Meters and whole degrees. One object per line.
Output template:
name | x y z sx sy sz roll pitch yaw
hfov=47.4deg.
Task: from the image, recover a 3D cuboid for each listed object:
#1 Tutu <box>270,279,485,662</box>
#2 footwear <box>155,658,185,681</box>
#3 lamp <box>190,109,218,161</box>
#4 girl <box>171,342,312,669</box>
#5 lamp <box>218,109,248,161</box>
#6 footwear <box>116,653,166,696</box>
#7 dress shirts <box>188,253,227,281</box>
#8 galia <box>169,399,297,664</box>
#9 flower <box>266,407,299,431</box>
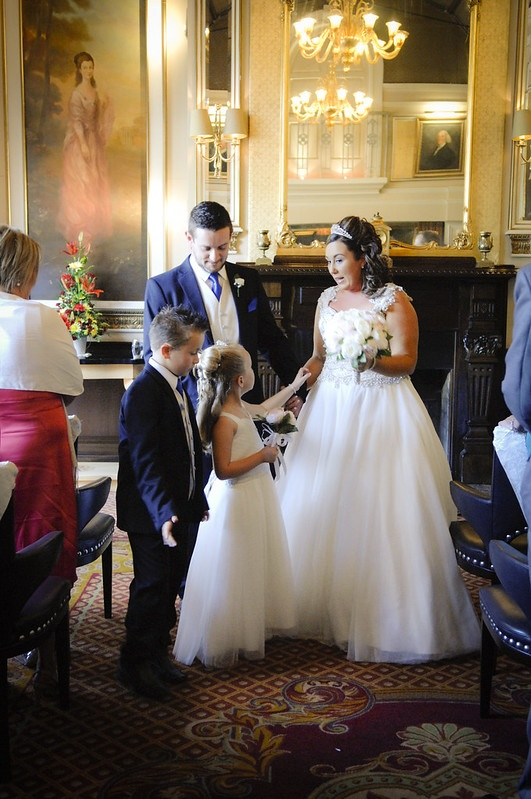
Tutu | 0.428 0.229 2.515 0.685 1.327 0.978 6 3 -36
footwear | -0.309 0.890 1.969 0.122 0.051 0.045 4 0 45
lamp | -0.491 -2.124 4.832 0.193 0.335 0.530 0 -3 -5
girl | -0.077 0.361 2.224 0.472 1.071 0.496 2 8 13
lamp | -0.240 -2.136 4.871 0.191 0.372 0.187 -3 11 -10
footwear | -0.390 0.867 1.949 0.210 0.092 0.073 9 0 44
dress shirts | -0.239 -0.556 2.526 0.102 0.082 0.137 0 15 -11
galia | -0.068 0.415 2.182 0.389 0.911 0.414 2 8 16
flower | 0.073 0.088 2.273 0.088 0.090 0.089 12 -10 -1
